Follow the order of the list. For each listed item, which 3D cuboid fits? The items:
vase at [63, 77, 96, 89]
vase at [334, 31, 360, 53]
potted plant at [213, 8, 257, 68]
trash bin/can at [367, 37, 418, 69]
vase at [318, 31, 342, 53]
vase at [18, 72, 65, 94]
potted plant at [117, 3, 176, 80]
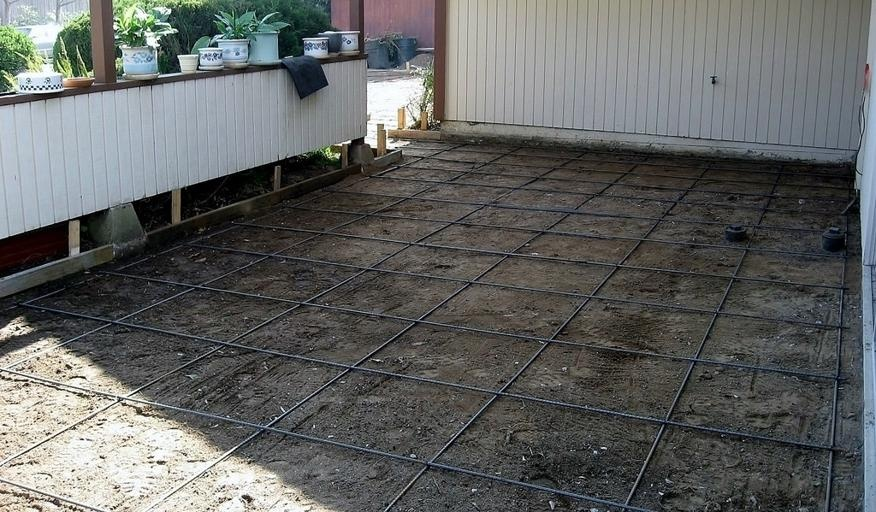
[{"bbox_3d":[-3.464,-1.675,5.264,0.321,0.091,0.238,-18,27,-37],"label":"vase"},{"bbox_3d":[-1.310,-3.195,8.175,0.499,0.265,0.373,-1,18,-7],"label":"vase"},{"bbox_3d":[-2.548,-2.723,6.830,0.519,0.661,0.960,-9,25,-12],"label":"potted plant"},{"bbox_3d":[-1.920,-8.106,21.714,1.050,1.165,2.247,13,27,27],"label":"trash bin/can"},{"bbox_3d":[-1.587,-3.172,8.036,0.476,0.292,0.376,-5,19,-18],"label":"vase"},{"bbox_3d":[-3.642,-1.601,5.045,0.406,0.106,0.307,1,11,-7],"label":"vase"},{"bbox_3d":[-3.206,-2.352,5.952,0.631,0.790,0.999,-13,27,-20],"label":"potted plant"}]
